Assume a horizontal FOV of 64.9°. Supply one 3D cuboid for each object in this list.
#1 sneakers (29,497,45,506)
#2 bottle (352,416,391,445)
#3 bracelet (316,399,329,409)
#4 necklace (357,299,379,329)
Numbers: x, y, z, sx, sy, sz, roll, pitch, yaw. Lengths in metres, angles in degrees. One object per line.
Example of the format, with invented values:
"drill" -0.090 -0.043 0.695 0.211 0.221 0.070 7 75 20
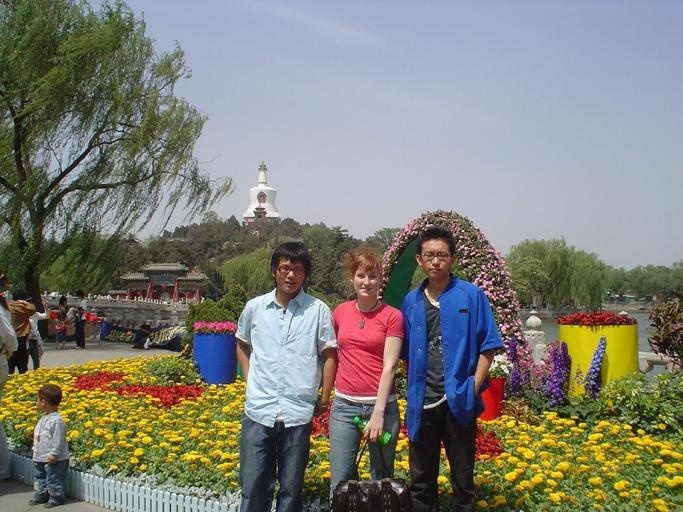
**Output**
"sneakers" -2.827 2.269 4.984 0.116 0.054 0.059 9 -6 -9
"bottle" 0.224 1.284 3.921 0.282 0.194 0.156 1 -1 3
"bracelet" -0.138 1.099 3.977 0.067 0.073 0.071 4 3 32
"necklace" 0.201 0.447 4.077 0.180 0.247 0.017 8 -18 33
